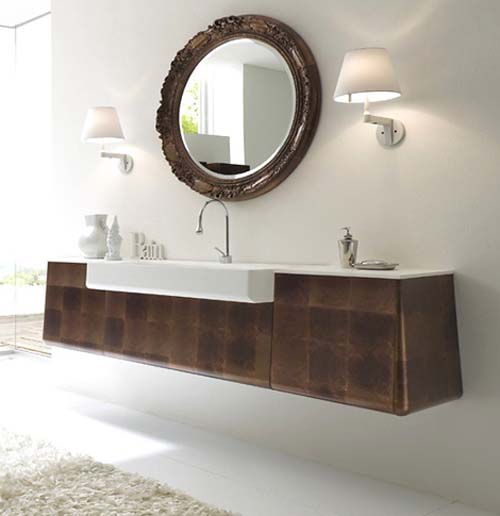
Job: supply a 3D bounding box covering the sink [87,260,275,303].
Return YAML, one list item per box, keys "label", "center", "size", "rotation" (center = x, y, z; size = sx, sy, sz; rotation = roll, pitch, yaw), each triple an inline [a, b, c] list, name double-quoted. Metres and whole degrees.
- label: "sink"
  center: [-0.335, 0.100, 2.080]
  size: [1.013, 0.158, 0.172]
  rotation: [0, -1, 36]

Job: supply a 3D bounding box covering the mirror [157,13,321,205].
- label: "mirror"
  center: [-0.074, -0.725, 2.354]
  size: [0.938, 0.920, 0.095]
  rotation: [-2, 5, 33]

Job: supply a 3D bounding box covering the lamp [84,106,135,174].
- label: "lamp"
  center: [-0.838, -0.678, 2.796]
  size: [0.285, 0.357, 0.221]
  rotation: [-1, 2, -43]

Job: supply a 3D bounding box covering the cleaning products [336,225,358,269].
- label: "cleaning products"
  center: [0.373, -0.040, 1.816]
  size: [0.065, 0.157, 0.169]
  rotation: [0, -1, 13]

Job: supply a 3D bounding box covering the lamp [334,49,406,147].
- label: "lamp"
  center: [0.447, -0.589, 1.765]
  size: [0.240, 0.328, 0.275]
  rotation: [4, 7, 43]
